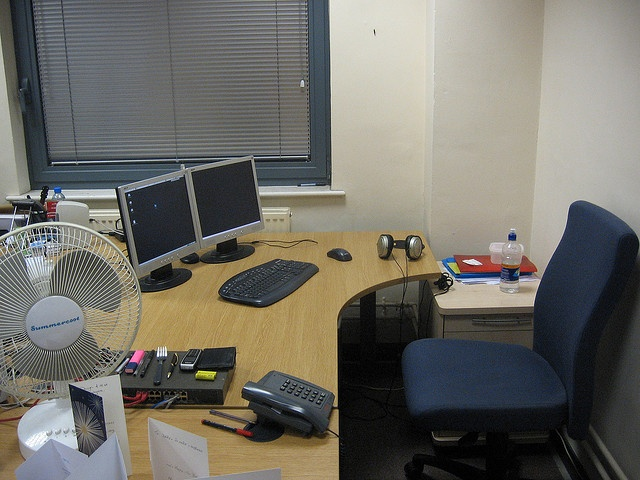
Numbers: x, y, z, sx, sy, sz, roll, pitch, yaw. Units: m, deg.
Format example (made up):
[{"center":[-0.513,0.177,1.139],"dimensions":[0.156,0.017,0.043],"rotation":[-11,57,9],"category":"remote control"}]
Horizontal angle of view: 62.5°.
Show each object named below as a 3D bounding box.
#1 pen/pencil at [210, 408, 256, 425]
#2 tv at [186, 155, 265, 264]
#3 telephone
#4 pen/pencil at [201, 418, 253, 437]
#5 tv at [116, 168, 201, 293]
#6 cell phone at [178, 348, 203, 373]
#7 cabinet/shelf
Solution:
[{"center":[-0.271,0.553,1.655],"dimensions":[0.128,0.016,0.017],"rotation":[16,26,15],"category":"pen/pencil"},{"center":[-0.497,-0.141,2.777],"dimensions":[0.221,0.584,0.505],"rotation":[8,18,41],"category":"tv"},{"center":[-0.093,0.495,1.642],"dimensions":[0.202,0.074,0.170],"rotation":[13,17,7],"category":"telephone"},{"center":[-0.283,0.574,1.619],"dimensions":[0.144,0.016,0.016],"rotation":[10,20,7],"category":"pen/pencil"},{"center":[-0.719,-0.033,2.418],"dimensions":[0.192,0.538,0.480],"rotation":[4,17,32],"category":"tv"},{"center":[-0.445,0.409,1.809],"dimensions":[0.066,0.034,0.092],"rotation":[-3,20,5],"category":"cell phone"},{"center":[0.815,0.583,2.988],"dimensions":[0.720,1.029,0.823],"rotation":[-1,14,1],"category":"cabinet/shelf"}]
